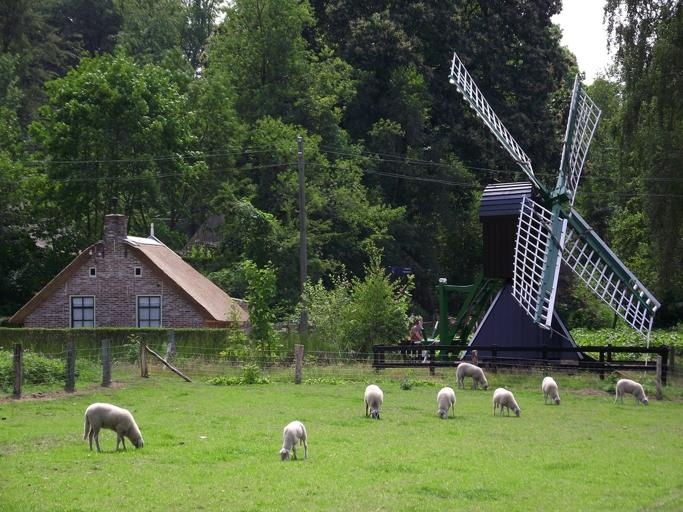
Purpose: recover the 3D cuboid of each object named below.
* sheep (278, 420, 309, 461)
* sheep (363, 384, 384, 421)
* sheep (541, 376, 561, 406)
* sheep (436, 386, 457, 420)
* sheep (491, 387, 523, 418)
[{"bbox_3d":[-2.139,8.126,54.302,1.232,1.708,1.264,0,-7,-3],"label":"sheep"},{"bbox_3d":[1.482,7.025,59.208,0.787,1.684,1.548,0,-7,-1],"label":"sheep"},{"bbox_3d":[10.580,6.877,62.769,0.861,1.368,0.992,-1,-7,9],"label":"sheep"},{"bbox_3d":[4.976,7.072,59.526,0.840,1.547,1.473,-1,-7,4],"label":"sheep"},{"bbox_3d":[7.957,7.133,60.137,1.357,1.389,1.197,-2,-7,11],"label":"sheep"}]
